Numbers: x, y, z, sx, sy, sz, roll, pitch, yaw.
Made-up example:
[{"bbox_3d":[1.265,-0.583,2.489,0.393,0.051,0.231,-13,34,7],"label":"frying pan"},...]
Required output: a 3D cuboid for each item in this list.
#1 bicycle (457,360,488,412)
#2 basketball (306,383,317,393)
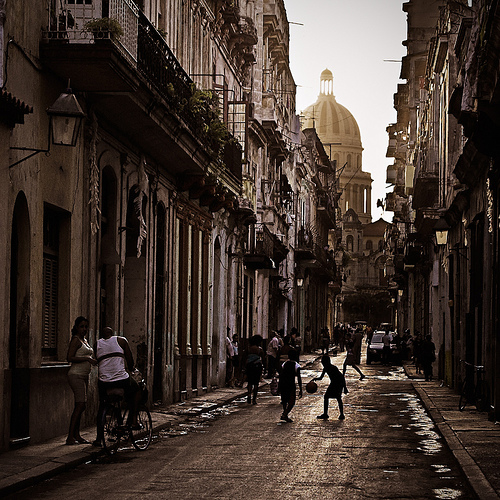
[{"bbox_3d":[5.177,3.130,21.814,0.549,1.041,1.341,-3,-11,22],"label":"bicycle"},{"bbox_3d":[1.193,2.683,18.381,0.163,0.287,0.216,2,-5,-8],"label":"basketball"}]
